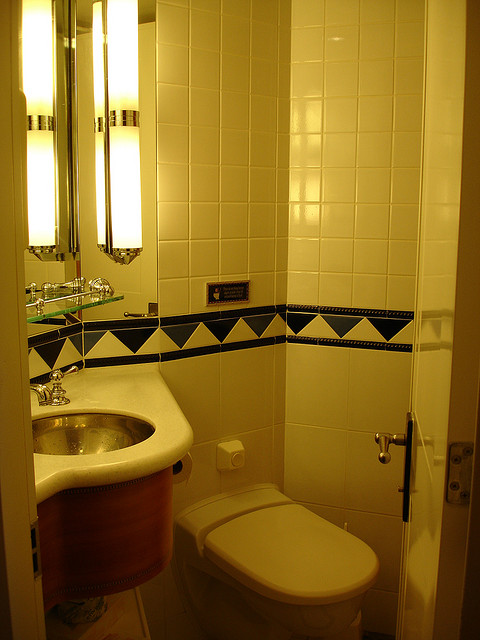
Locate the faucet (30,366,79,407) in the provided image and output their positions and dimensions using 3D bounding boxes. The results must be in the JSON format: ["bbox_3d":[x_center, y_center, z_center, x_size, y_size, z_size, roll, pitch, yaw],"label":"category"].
[{"bbox_3d":[-0.471,0.172,1.321,0.137,0.088,0.050,-15,3,-8],"label":"faucet"}]

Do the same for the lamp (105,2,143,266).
[{"bbox_3d":[-0.324,-0.503,1.440,0.093,0.685,0.097,2,4,6],"label":"lamp"}]
